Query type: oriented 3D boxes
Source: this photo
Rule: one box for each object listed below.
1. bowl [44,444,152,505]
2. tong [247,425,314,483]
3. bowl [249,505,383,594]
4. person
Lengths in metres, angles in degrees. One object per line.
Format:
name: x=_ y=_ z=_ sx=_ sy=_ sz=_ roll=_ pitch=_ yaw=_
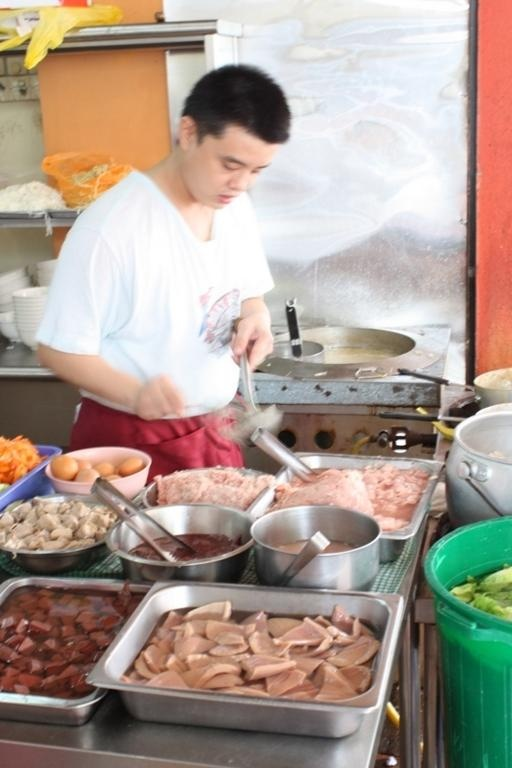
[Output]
bowl: x=-0.348 y=0.198 z=1.512 sx=0.187 sy=0.119 sz=0.269 roll=9 pitch=15 yaw=27
tong: x=0.050 y=0.149 z=1.443 sx=0.149 sy=0.116 sz=0.100 roll=6 pitch=17 yaw=26
bowl: x=0.113 y=0.288 z=1.119 sx=0.230 sy=0.084 sz=0.205 roll=2 pitch=12 yaw=19
person: x=-0.231 y=-0.181 z=1.826 sx=0.611 sy=1.222 sz=0.628 roll=-9 pitch=23 yaw=-29
